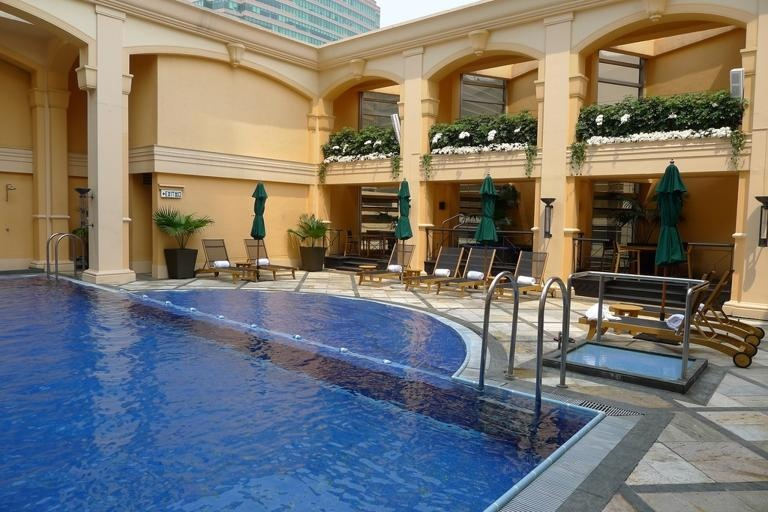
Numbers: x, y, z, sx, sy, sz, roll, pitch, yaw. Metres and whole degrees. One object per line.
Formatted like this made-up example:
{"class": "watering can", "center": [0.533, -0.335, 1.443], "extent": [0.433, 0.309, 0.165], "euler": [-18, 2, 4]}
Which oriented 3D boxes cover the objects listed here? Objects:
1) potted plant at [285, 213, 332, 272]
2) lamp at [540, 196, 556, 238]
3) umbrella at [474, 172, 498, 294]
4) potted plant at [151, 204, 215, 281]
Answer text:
{"class": "potted plant", "center": [-2.518, -0.516, 17.750], "extent": [2.227, 2.152, 1.860], "euler": [-1, -2, -20]}
{"class": "lamp", "center": [4.350, -1.027, 13.103], "extent": [0.367, 1.120, 0.597], "euler": [4, 12, 16]}
{"class": "umbrella", "center": [2.812, -1.236, 13.369], "extent": [0.555, 1.929, 1.322], "euler": [3, 12, 12]}
{"class": "potted plant", "center": [-6.279, -0.377, 14.985], "extent": [2.175, 2.015, 1.990], "euler": [0, -1, -41]}
